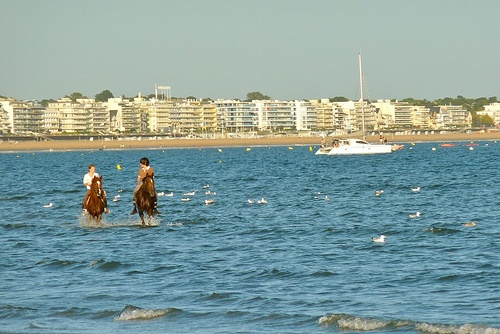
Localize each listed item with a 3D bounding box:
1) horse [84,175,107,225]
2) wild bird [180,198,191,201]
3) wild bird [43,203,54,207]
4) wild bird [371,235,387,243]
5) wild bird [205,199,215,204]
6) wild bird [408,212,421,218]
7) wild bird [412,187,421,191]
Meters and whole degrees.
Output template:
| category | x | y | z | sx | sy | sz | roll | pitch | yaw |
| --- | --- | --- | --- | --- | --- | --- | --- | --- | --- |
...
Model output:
| category | x | y | z | sx | sy | sz | roll | pitch | yaw |
| --- | --- | --- | --- | --- | --- | --- | --- | --- | --- |
| horse | -7.321 | 1.554 | 47.005 | 1.130 | 2.287 | 2.240 | -1 | 3 | -9 |
| wild bird | -3.761 | 1.899 | 58.783 | 0.352 | 0.137 | 0.182 | -5 | 12 | -22 |
| wild bird | -11.291 | 2.143 | 55.931 | 0.446 | 0.170 | 0.326 | -1 | 2 | -38 |
| wild bird | 5.671 | 3.096 | 43.093 | 0.543 | 0.368 | 0.300 | 6 | 5 | 7 |
| wild bird | -2.307 | 1.957 | 56.865 | 0.215 | 0.263 | 0.404 | -14 | 3 | -19 |
| wild bird | 8.415 | 2.424 | 50.036 | 0.582 | 0.380 | 0.277 | 1 | 16 | -12 |
| wild bird | 10.813 | 1.438 | 63.209 | 0.569 | 0.338 | 0.299 | 3 | 16 | -7 |
